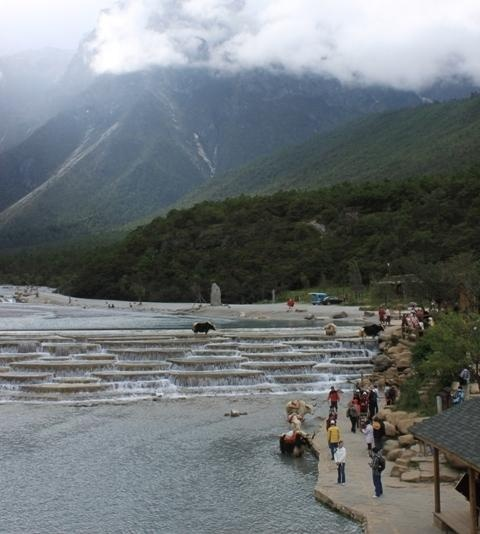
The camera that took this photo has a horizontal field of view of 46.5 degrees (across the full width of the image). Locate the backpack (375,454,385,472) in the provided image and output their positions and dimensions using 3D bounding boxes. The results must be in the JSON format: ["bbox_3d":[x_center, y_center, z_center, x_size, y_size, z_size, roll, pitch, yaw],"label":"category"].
[{"bbox_3d":[2.992,4.202,12.008,0.167,0.400,0.306,1,2,36],"label":"backpack"}]

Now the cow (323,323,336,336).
[{"bbox_3d":[6.604,4.397,40.866,0.431,0.785,1.574,4,12,26],"label":"cow"}]

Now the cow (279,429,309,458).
[{"bbox_3d":[1.644,5.391,17.233,0.952,0.595,0.465,-8,12,-21],"label":"cow"}]

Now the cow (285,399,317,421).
[{"bbox_3d":[2.318,5.463,21.677,1.472,0.959,0.527,-4,7,-36],"label":"cow"}]

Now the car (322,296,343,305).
[{"bbox_3d":[12.279,4.356,74.416,2.437,0.788,1.100,-10,13,-21],"label":"car"}]

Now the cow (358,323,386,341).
[{"bbox_3d":[8.728,4.080,37.336,1.253,0.535,1.238,-11,-18,-22],"label":"cow"}]
